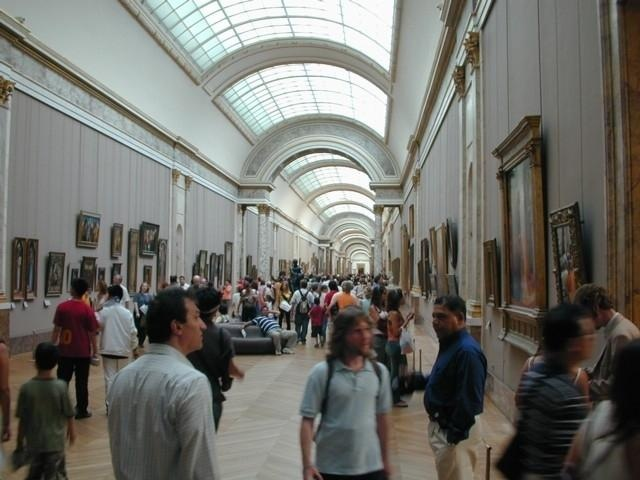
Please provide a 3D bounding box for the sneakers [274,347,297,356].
[{"bbox_3d":[-1.005,3.186,12.933,0.584,0.302,0.211,-9,8,21],"label":"sneakers"}]

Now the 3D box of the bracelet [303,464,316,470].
[{"bbox_3d":[-0.082,1.584,3.172,0.080,0.041,0.078,1,-8,-3],"label":"bracelet"}]
